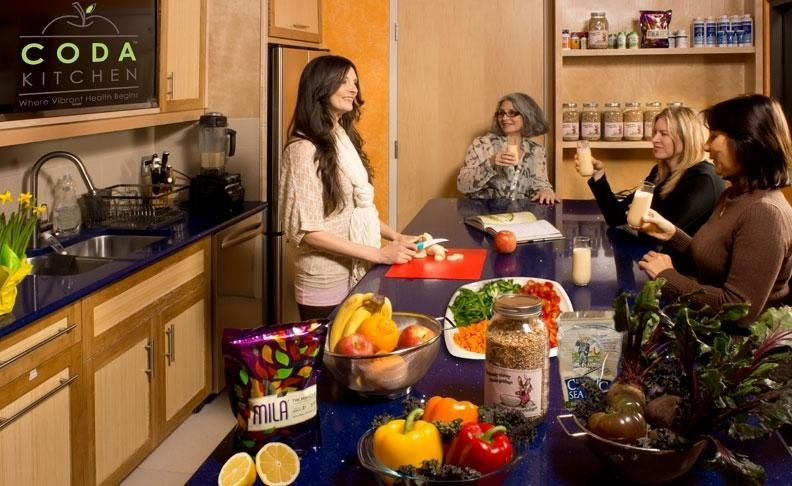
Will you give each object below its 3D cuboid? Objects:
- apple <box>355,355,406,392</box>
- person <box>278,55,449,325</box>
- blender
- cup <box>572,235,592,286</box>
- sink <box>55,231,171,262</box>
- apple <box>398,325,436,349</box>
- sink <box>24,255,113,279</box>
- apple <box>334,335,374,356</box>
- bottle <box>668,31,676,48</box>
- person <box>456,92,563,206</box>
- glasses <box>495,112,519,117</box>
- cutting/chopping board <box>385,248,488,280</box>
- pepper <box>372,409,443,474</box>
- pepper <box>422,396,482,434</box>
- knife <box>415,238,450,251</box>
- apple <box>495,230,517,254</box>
[{"bbox_3d":[-0.034,0.343,1.506,0.100,0.066,0.101,-2,1,41],"label":"apple"},{"bbox_3d":[-0.266,-0.265,2.876,0.745,1.363,0.583,11,20,37],"label":"person"},{"bbox_3d":[-1.232,-0.554,3.763,0.328,0.653,0.341,-1,11,-7],"label":"blender"},{"bbox_3d":[0.814,0.080,2.376,0.085,0.174,0.155,4,18,19],"label":"cup"},{"bbox_3d":[-1.613,0.024,3.099,0.251,0.158,0.258,3,13,2],"label":"sink"},{"bbox_3d":[0.060,0.265,1.549,0.072,0.079,0.074,12,10,-14],"label":"apple"},{"bbox_3d":[-1.681,0.109,2.781,0.230,0.085,0.183,4,9,9],"label":"sink"},{"bbox_3d":[-0.111,0.284,1.511,0.062,0.066,0.078,-8,-4,6],"label":"apple"},{"bbox_3d":[2.382,-1.743,4.690,0.065,0.120,0.029,5,17,22],"label":"bottle"},{"bbox_3d":[0.939,-0.825,4.674,0.767,0.833,0.381,3,17,15],"label":"person"},{"bbox_3d":[0.948,-1.089,4.641,0.218,0.053,0.089,9,21,30],"label":"glasses"},{"bbox_3d":[0.210,0.093,2.646,0.443,0.027,0.484,2,19,12],"label":"cutting/chopping board"},{"bbox_3d":[0.031,0.470,1.308,0.153,0.145,0.152,1,-3,-42],"label":"pepper"},{"bbox_3d":[0.133,0.424,1.362,0.083,0.081,0.082,13,39,-31],"label":"pepper"},{"bbox_3d":[0.180,0.011,2.748,0.226,0.040,0.061,3,-9,42],"label":"knife"},{"bbox_3d":[0.563,-0.005,2.816,0.110,0.110,0.111,0,3,0],"label":"apple"}]
